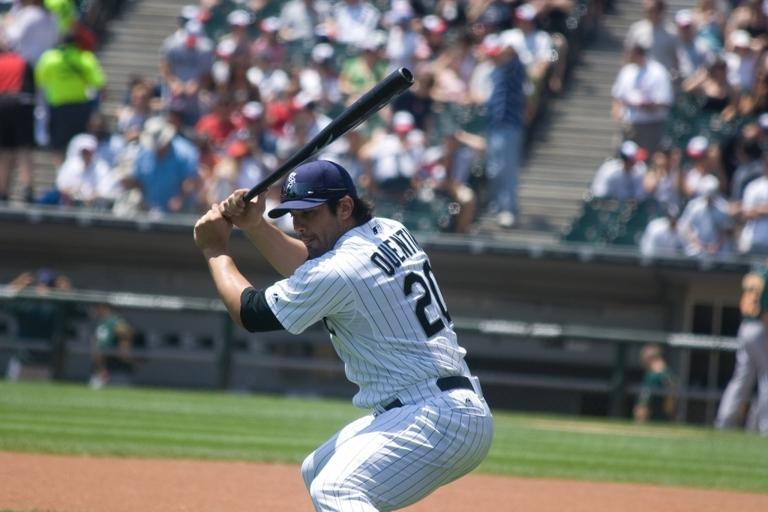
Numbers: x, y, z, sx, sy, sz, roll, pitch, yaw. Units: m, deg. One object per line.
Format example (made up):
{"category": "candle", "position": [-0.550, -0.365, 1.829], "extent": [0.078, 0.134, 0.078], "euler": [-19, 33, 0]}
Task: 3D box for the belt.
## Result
{"category": "belt", "position": [0.361, 1.056, 15.624], "extent": [0.506, 0.118, 0.380], "euler": [-23, -17, 2]}
